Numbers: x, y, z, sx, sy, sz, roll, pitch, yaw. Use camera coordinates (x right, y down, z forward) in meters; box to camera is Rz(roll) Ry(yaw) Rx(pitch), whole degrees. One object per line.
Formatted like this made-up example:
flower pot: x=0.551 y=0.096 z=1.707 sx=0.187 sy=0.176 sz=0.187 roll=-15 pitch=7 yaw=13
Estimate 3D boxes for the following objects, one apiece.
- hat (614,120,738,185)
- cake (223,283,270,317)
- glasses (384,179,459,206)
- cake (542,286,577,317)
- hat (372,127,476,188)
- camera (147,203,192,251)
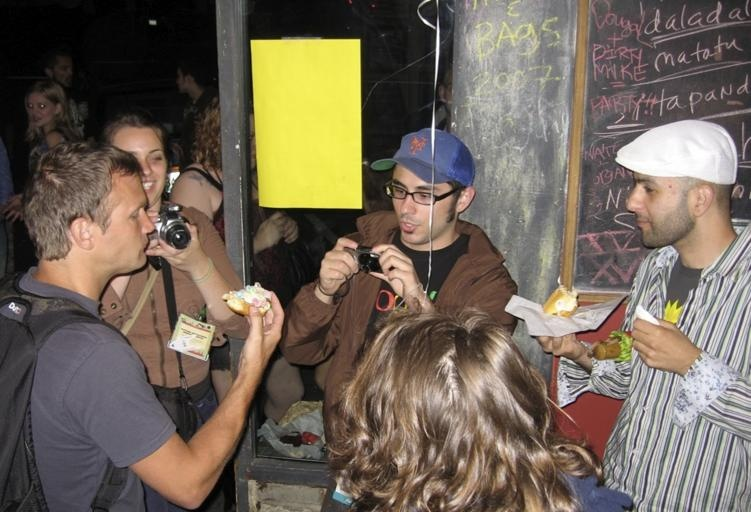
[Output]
hat: x=1.499 y=-0.454 z=3.097 sx=0.452 sy=0.214 sz=0.340 roll=14 pitch=34 yaw=16
cake: x=-0.647 y=0.225 z=3.090 sx=0.189 sy=0.148 sz=0.082 roll=-1 pitch=29 yaw=-5
glasses: x=0.266 y=-0.355 z=3.449 sx=0.421 sy=0.134 sz=0.230 roll=0 pitch=8 yaw=1
cake: x=0.982 y=0.243 z=3.257 sx=0.171 sy=0.130 sz=0.068 roll=-33 pitch=-12 yaw=0
hat: x=0.325 y=-0.574 z=3.582 sx=0.457 sy=0.311 sz=0.632 roll=16 pitch=4 yaw=41
camera: x=-1.099 y=-0.150 z=3.340 sx=0.213 sy=0.208 sz=0.210 roll=-1 pitch=29 yaw=-33
